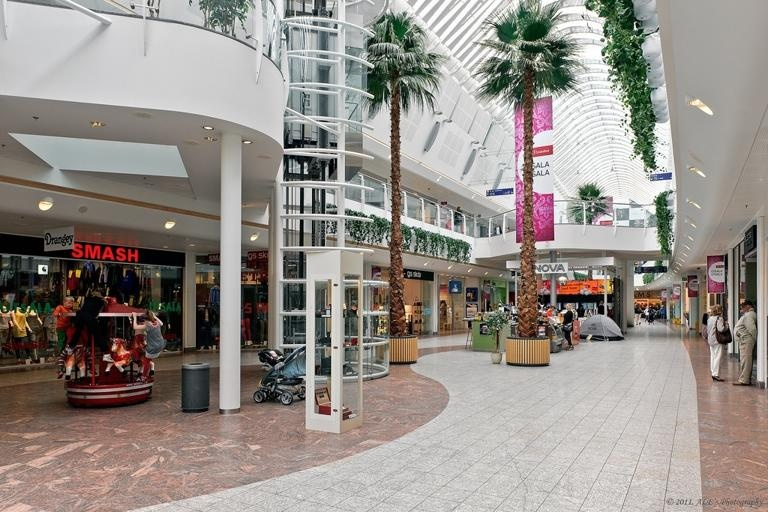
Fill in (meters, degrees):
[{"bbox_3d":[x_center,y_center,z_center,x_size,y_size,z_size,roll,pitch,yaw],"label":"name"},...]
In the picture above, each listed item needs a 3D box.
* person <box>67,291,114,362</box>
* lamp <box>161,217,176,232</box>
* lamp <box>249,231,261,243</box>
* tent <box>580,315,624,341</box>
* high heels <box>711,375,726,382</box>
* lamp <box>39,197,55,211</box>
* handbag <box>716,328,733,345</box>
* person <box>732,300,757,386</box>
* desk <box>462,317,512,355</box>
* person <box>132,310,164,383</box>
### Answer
[{"bbox_3d":[-6.571,1.494,12.164,0.883,1.492,0.883,1,-6,15],"label":"person"},{"bbox_3d":[-6.741,-1.001,16.665,0.340,0.288,0.666,4,-6,-20],"label":"lamp"},{"bbox_3d":[-4.692,-0.708,19.238,0.359,0.304,0.467,2,-6,3],"label":"lamp"},{"bbox_3d":[12.347,4.065,30.373,2.292,1.405,1.025,-3,-8,42],"label":"tent"},{"bbox_3d":[9.473,3.454,14.976,0.362,0.158,0.133,1,-1,-17],"label":"high heels"},{"bbox_3d":[-8.493,-1.311,13.311,0.317,0.270,0.521,6,-7,-32],"label":"lamp"},{"bbox_3d":[9.754,2.277,15.174,0.433,0.500,0.236,3,-6,-7],"label":"handbag"},{"bbox_3d":[9.794,2.355,14.349,0.519,2.246,1.013,-1,-7,35],"label":"person"},{"bbox_3d":[4.451,3.640,23.278,2.501,1.811,1.373,-1,-7,16],"label":"desk"},{"bbox_3d":[-5.555,2.069,12.481,0.671,1.576,1.110,5,-6,-22],"label":"person"}]
